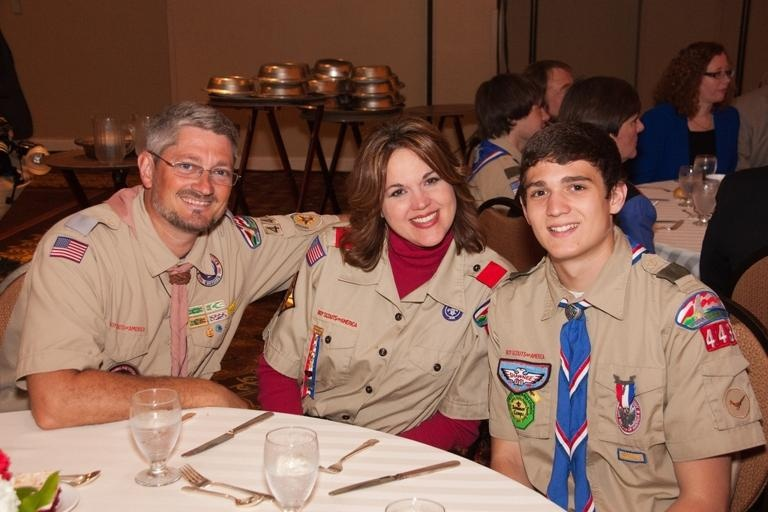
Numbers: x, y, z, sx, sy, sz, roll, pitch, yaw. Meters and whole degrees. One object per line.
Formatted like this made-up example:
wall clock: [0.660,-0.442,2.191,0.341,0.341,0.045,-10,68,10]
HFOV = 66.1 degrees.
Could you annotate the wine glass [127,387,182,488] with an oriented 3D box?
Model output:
wine glass: [-0.613,0.479,1.615,0.124,0.206,0.225,-5,12,-24]

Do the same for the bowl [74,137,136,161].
bowl: [-2.246,-0.881,4.818,0.368,0.160,0.279,3,11,-17]

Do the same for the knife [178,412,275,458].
knife: [-0.442,0.515,1.683,0.054,0.017,0.339,15,23,36]

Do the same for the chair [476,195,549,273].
chair: [0.573,-0.084,2.612,0.236,0.299,0.215,-23,36,-27]

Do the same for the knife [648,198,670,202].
knife: [1.735,-0.361,3.809,0.148,0.022,0.152,3,6,4]
